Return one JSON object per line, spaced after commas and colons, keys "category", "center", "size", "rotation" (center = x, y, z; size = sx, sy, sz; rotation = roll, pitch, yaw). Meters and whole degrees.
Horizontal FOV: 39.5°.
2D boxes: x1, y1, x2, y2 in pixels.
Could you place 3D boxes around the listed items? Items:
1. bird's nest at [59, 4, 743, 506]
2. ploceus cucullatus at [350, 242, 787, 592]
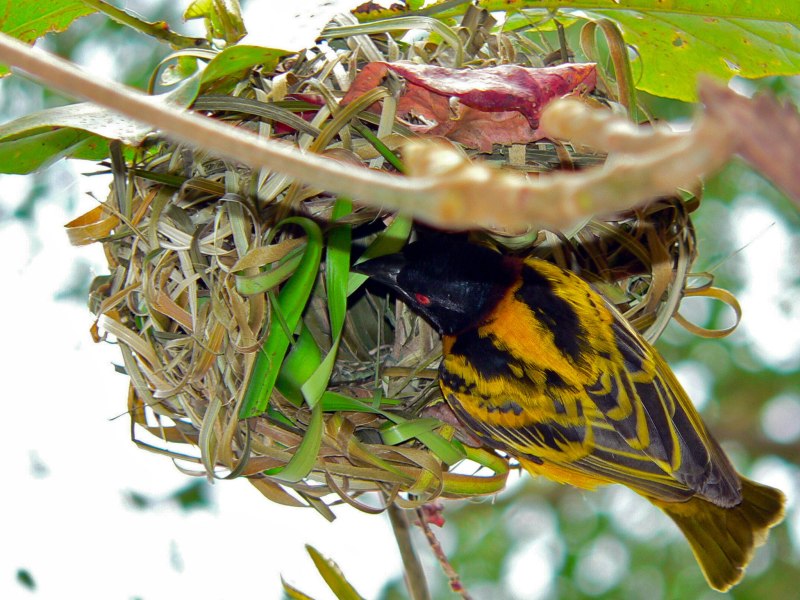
{"category": "bird's nest", "center": [-0.092, -0.156, 2.320], "size": [1.338, 0.626, 1.047], "rotation": [15, -71, -20]}
{"category": "ploceus cucullatus", "center": [0.377, 0.196, 2.482], "size": [1.276, 0.446, 0.480], "rotation": [23, -11, 2]}
